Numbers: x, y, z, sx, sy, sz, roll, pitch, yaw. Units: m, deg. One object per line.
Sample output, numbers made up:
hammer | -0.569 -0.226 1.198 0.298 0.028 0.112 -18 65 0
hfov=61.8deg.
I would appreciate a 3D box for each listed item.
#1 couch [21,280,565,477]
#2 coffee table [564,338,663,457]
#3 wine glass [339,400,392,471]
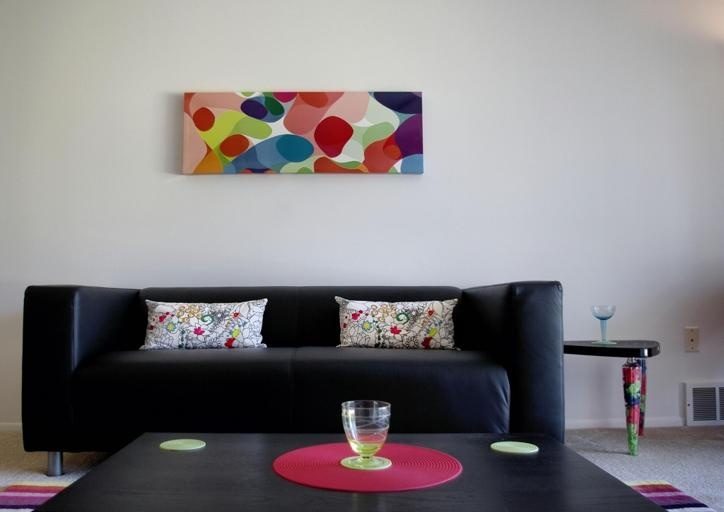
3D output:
couch | -0.360 0.692 3.616 2.872 0.997 0.960 1 -8 -5
coffee table | 1.486 0.832 3.748 0.668 0.614 0.660 0 -6 6
wine glass | 0.057 0.680 2.336 0.233 0.247 0.237 0 -6 8
